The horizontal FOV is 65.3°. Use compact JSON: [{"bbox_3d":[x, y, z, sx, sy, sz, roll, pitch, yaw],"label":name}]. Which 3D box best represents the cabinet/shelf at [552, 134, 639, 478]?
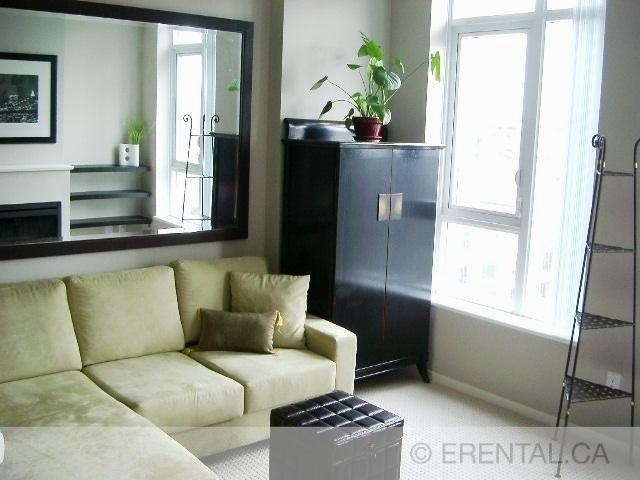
[{"bbox_3d":[1.854,0.379,3.169,0.478,2.038,0.768,8,15,26],"label":"cabinet/shelf"}]

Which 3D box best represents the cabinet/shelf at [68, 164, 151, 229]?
[{"bbox_3d":[-1.460,-0.305,3.470,0.531,0.446,0.108,-5,15,-26],"label":"cabinet/shelf"}]

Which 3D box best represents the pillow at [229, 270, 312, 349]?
[{"bbox_3d":[-0.360,0.499,3.484,0.458,0.464,0.173,4,-16,-3],"label":"pillow"}]

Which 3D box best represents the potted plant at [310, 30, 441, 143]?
[{"bbox_3d":[0.502,-1.089,4.145,0.965,0.782,0.995,1,4,20],"label":"potted plant"}]
